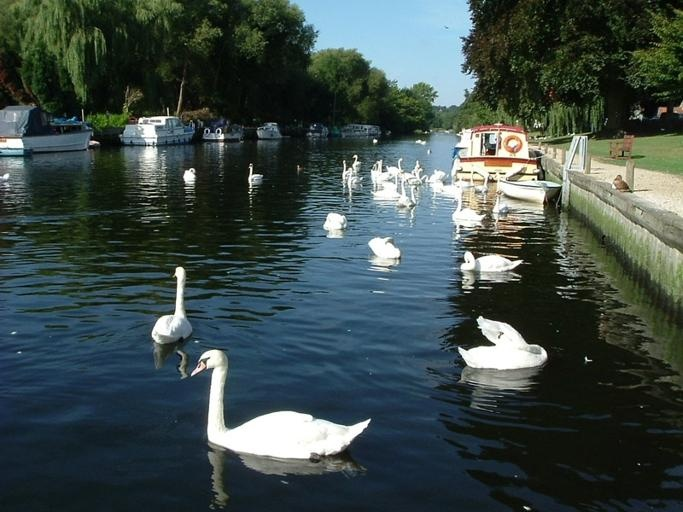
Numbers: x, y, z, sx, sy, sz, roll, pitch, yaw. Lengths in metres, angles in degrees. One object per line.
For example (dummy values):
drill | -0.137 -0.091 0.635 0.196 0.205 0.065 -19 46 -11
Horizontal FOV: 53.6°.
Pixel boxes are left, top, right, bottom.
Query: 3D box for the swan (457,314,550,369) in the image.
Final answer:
swan | 3.221 1.842 13.512 1.990 1.061 1.232 7 -8 -21

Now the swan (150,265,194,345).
swan | -3.498 1.025 13.976 0.713 1.460 1.062 2 12 2

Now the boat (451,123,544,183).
boat | 9.361 -6.079 40.976 4.801 3.869 9.809 3 9 15

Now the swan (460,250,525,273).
swan | 4.257 0.168 19.417 1.893 0.753 0.676 -1 -1 5

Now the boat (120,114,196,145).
boat | -18.884 -14.113 74.861 5.065 3.067 20.119 4 13 9

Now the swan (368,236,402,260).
swan | 1.323 -0.289 20.538 0.949 0.704 0.482 12 16 38

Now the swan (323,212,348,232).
swan | -0.199 -1.271 24.854 0.549 0.603 0.900 0 9 -6

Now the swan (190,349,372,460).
swan | -1.025 2.392 11.009 2.818 1.685 1.018 0 -1 8

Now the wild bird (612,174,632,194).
wild bird | 9.373 -2.377 22.633 0.451 0.341 0.760 0 33 8
